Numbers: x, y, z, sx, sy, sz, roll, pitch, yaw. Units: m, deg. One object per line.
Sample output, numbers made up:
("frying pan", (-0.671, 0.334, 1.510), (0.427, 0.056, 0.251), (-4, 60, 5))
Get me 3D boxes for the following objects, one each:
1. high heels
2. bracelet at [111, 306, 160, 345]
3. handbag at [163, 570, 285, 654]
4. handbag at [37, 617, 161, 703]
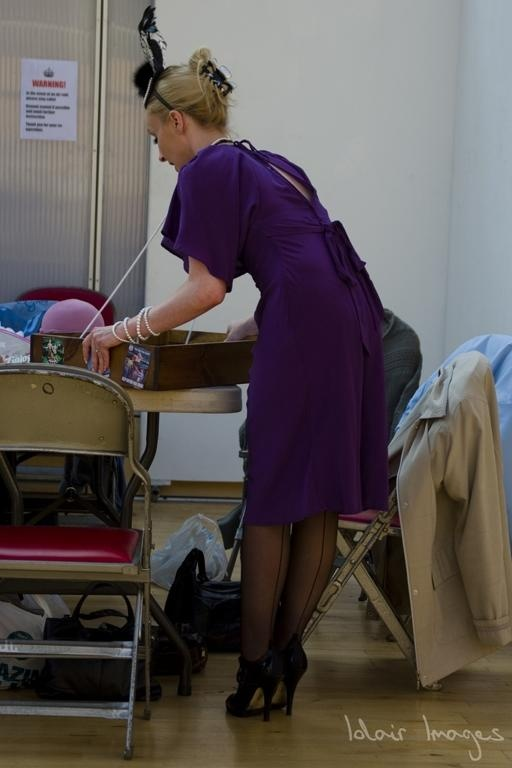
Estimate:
("high heels", (0.024, 0.691, 1.864), (0.110, 0.167, 0.273), (0, -6, -29))
("bracelet", (-0.268, -0.128, 1.754), (0.102, 0.047, 0.078), (-6, -6, 29))
("handbag", (-0.109, 0.668, 2.316), (0.267, 0.243, 0.183), (3, -5, 5))
("handbag", (-0.404, 0.641, 1.947), (0.234, 0.077, 0.225), (2, -3, 2))
